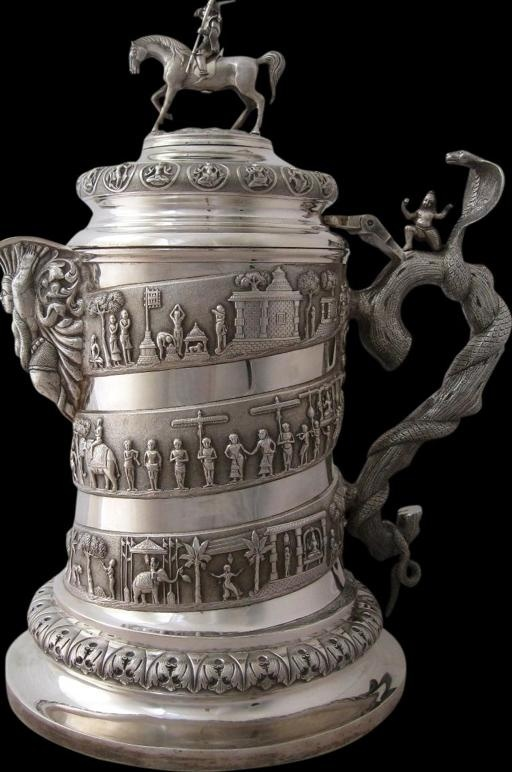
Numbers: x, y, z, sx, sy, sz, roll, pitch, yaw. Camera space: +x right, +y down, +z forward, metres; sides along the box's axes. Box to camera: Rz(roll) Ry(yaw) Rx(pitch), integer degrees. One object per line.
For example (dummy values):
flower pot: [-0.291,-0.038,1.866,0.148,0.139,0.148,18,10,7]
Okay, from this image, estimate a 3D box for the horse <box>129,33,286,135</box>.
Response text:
horse: [-0.117,-0.768,2.528,0.313,0.241,0.288,11,19,41]
